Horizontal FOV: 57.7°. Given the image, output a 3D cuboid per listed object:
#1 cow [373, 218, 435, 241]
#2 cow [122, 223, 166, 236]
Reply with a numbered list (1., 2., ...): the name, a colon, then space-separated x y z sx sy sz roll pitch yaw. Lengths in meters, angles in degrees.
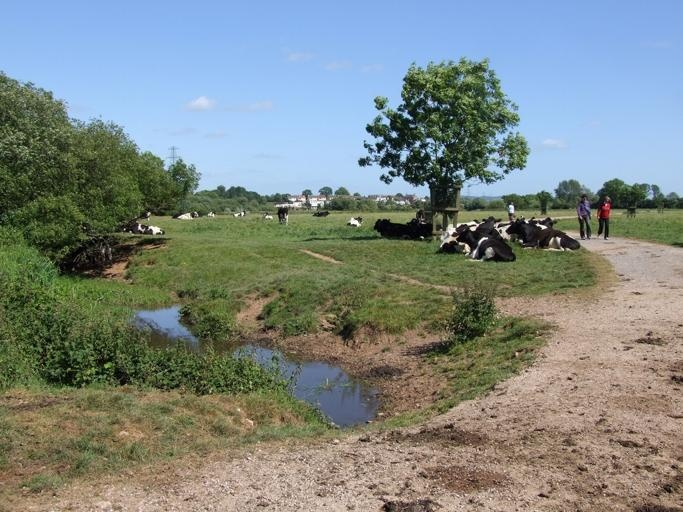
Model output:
1. cow: 4.373 -1.756 41.922 4.031 2.087 1.338 7 -2 43
2. cow: -14.080 -1.879 43.952 2.180 0.574 1.129 5 12 -21
